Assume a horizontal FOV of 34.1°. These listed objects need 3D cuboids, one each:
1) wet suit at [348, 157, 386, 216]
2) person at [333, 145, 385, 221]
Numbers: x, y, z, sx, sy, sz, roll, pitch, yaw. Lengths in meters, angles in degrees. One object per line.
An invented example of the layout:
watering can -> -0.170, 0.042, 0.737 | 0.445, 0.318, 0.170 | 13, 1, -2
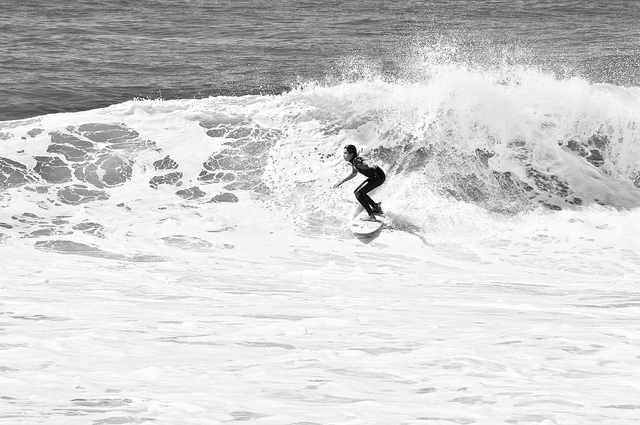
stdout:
wet suit -> 1.436, -0.835, 32.059 | 1.043, 1.786, 0.977 | -2, 35, -8
person -> 1.362, -0.921, 31.950 | 1.186, 2.302, 1.422 | -14, 38, -24
